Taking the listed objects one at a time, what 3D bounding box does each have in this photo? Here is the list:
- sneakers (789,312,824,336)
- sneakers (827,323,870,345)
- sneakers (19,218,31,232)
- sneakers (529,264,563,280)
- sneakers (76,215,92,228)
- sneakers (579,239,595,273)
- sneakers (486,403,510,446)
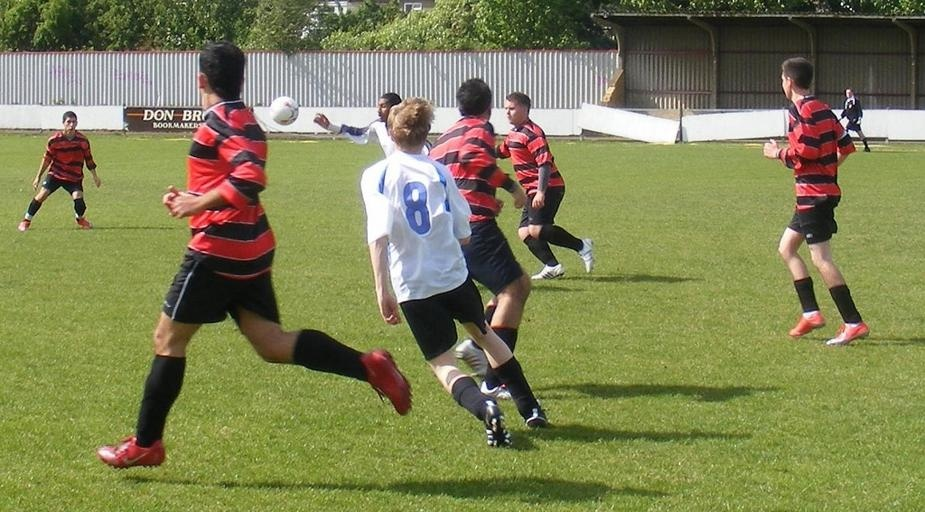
[{"bbox_3d":[4.381,0.859,11.877,0.485,0.223,0.235,-27,5,15],"label":"sneakers"},{"bbox_3d":[4.892,0.981,11.675,0.356,0.151,0.127,-23,14,6],"label":"sneakers"},{"bbox_3d":[-8.158,-0.556,17.139,0.201,0.134,0.356,8,-8,-32],"label":"sneakers"},{"bbox_3d":[1.253,0.245,14.275,0.575,0.223,0.196,-4,6,-2],"label":"sneakers"},{"bbox_3d":[-7.159,-0.641,17.318,0.364,0.162,0.236,11,-21,-19],"label":"sneakers"},{"bbox_3d":[1.943,-0.007,14.360,0.253,0.539,0.193,-13,20,-2],"label":"sneakers"},{"bbox_3d":[0.346,1.748,9.479,0.222,0.477,0.243,-8,33,10],"label":"sneakers"}]
